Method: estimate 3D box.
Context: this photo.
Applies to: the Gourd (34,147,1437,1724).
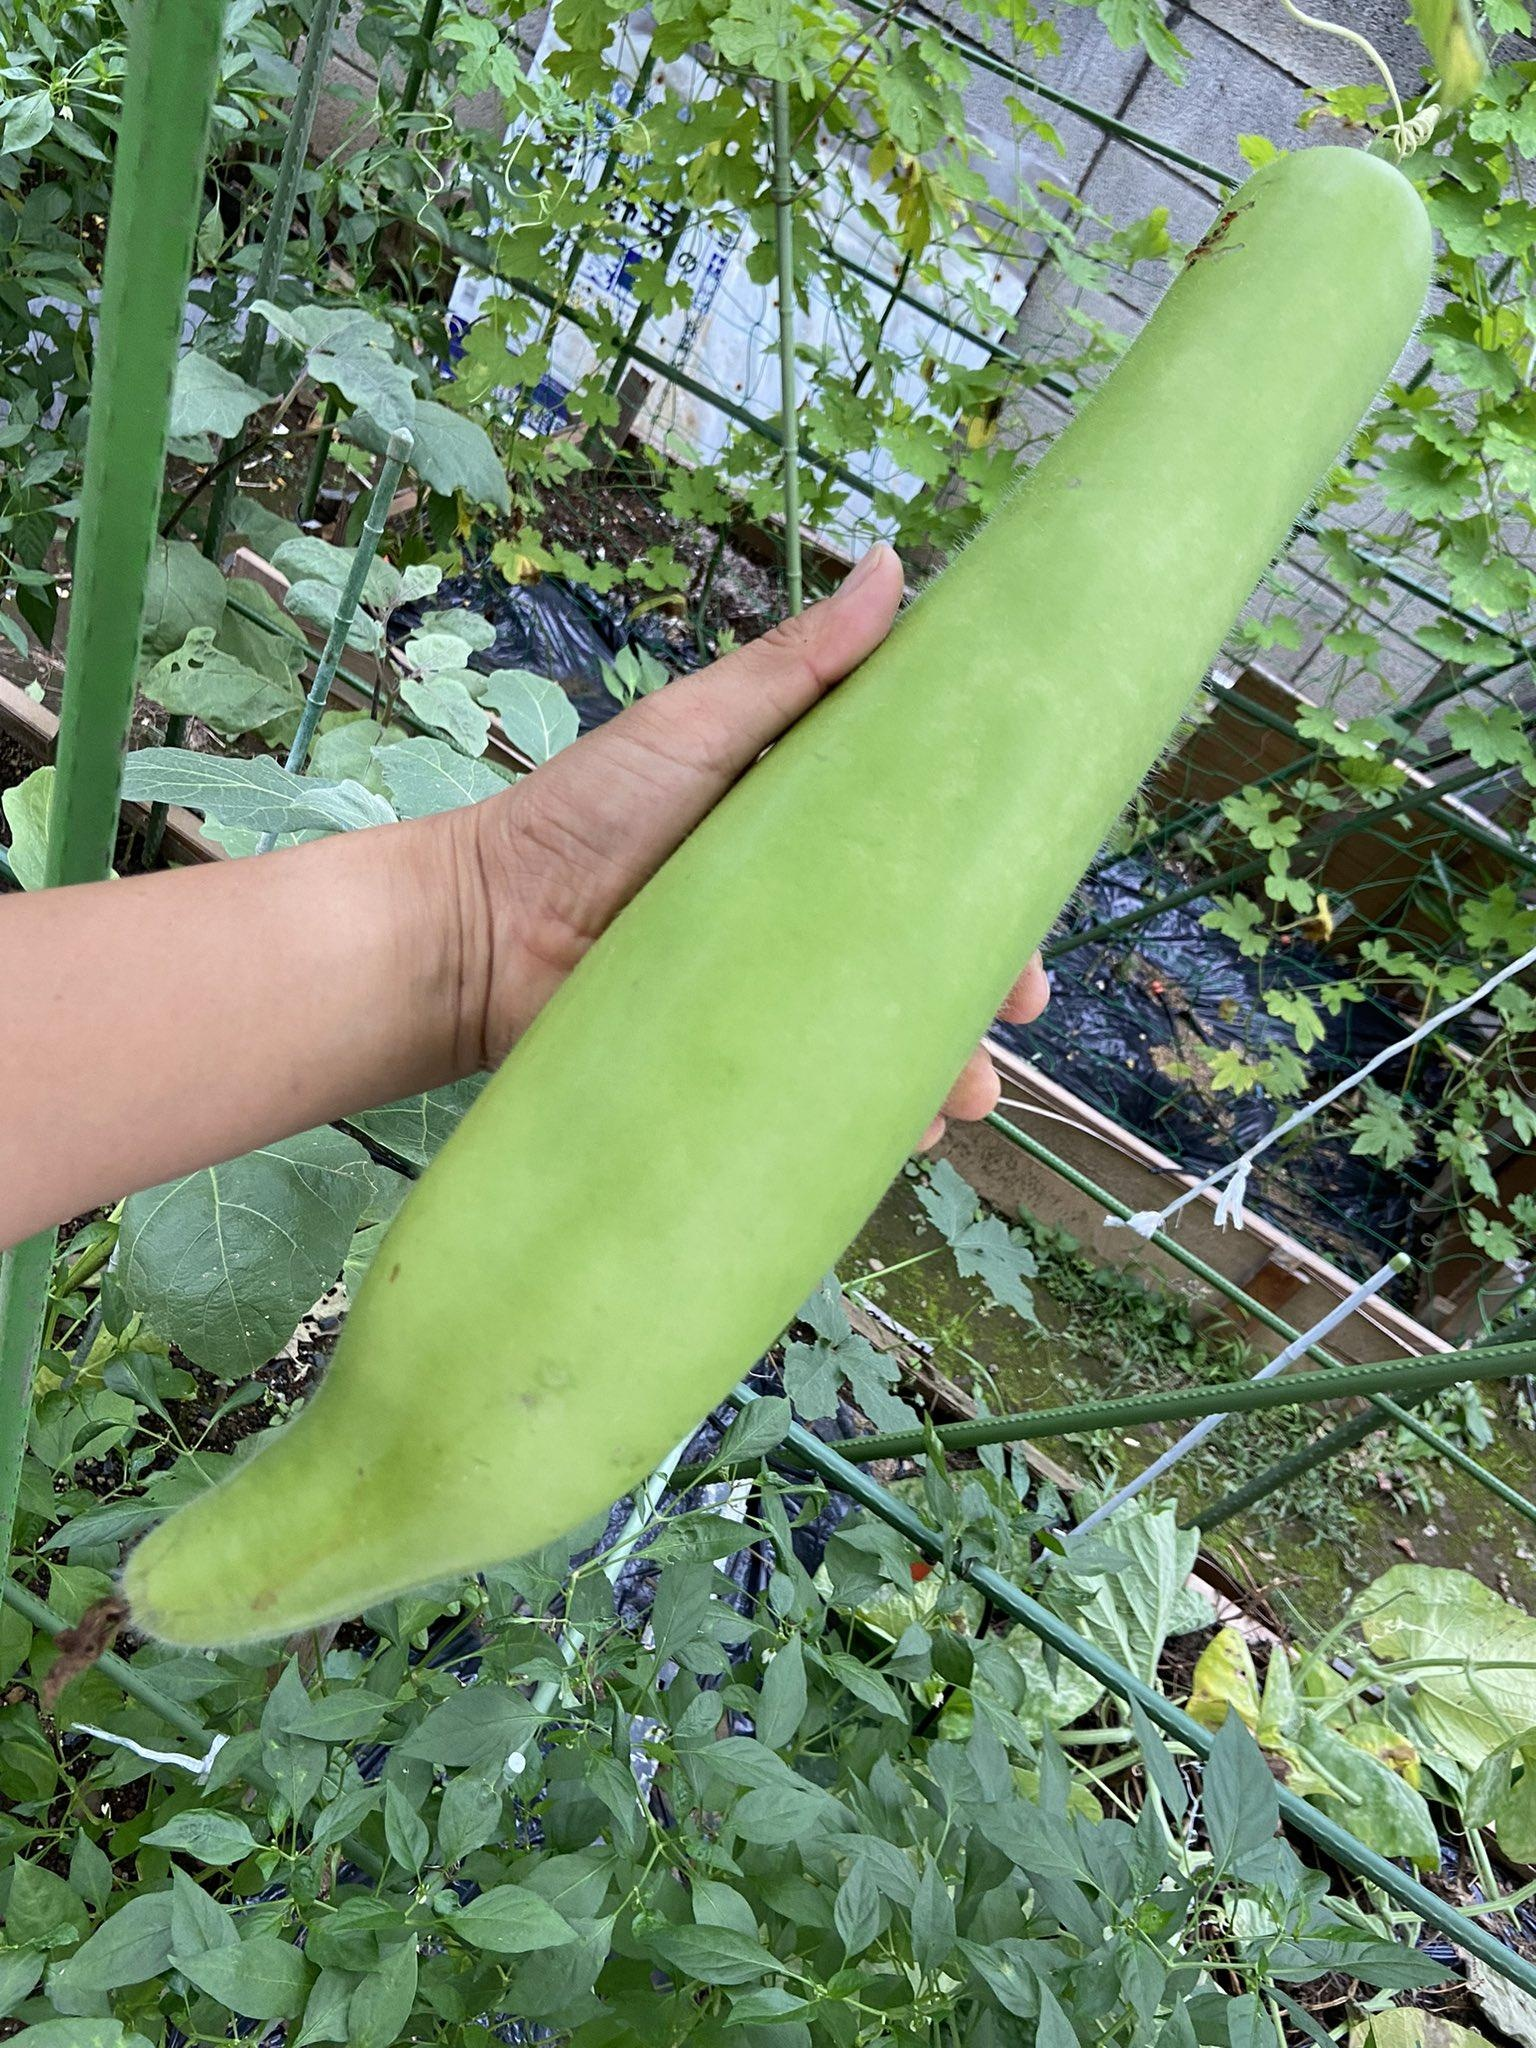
[{"bbox_3d":[0.034,-0.068,0.703,0.174,0.719,0.416,33,22,0],"label":"Gourd"}]
